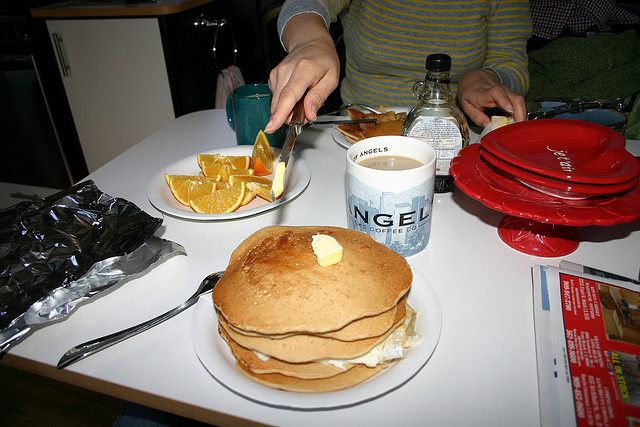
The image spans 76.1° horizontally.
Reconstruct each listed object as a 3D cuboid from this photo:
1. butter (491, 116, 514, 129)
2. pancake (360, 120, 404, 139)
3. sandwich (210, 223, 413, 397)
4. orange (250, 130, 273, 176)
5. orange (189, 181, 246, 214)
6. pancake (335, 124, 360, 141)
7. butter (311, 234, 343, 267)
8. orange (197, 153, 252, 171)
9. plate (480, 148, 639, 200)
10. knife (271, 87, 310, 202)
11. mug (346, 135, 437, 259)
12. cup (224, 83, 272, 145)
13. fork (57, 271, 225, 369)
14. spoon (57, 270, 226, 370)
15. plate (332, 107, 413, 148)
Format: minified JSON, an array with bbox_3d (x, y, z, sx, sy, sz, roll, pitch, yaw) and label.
[{"bbox_3d":[0.497,-0.245,1.113,0.058,0.020,0.069,19,42,31],"label":"butter"},{"bbox_3d":[0.192,-0.251,1.231,0.111,0.030,0.112,18,38,40],"label":"pancake"},{"bbox_3d":[-0.004,0.152,0.829,0.373,0.165,0.389,10,35,24],"label":"sandwich"},{"bbox_3d":[-0.167,-0.174,1.197,0.069,0.120,0.054,3,-1,6],"label":"orange"},{"bbox_3d":[-0.261,-0.037,1.087,0.131,0.069,0.095,8,22,28],"label":"orange"},{"bbox_3d":[0.088,-0.254,1.266,0.062,0.017,0.065,9,38,-1],"label":"pancake"},{"bbox_3d":[0.010,0.065,0.731,0.042,0.022,0.057,-13,49,-10],"label":"butter"},{"bbox_3d":[-0.278,-0.154,1.204,0.098,0.033,0.068,11,28,-5],"label":"orange"},{"bbox_3d":[0.471,-0.115,0.815,0.149,0.036,0.147,2,21,-15],"label":"plate"},{"bbox_3d":[-0.046,-0.199,0.977,0.046,0.041,0.409,28,51,-15],"label":"knife"},{"bbox_3d":[0.148,-0.054,0.957,0.215,0.261,0.249,-17,33,-24],"label":"mug"},{"bbox_3d":[-0.228,-0.294,1.268,0.172,0.159,0.110,6,36,12],"label":"cup"},{"bbox_3d":[-0.356,0.216,0.796,0.255,0.028,0.059,-27,46,-18],"label":"fork"},{"bbox_3d":[-0.370,0.223,0.817,0.497,0.072,0.120,-25,8,20],"label":"spoon"},{"bbox_3d":[0.147,-0.246,1.191,0.204,0.154,0.215,-14,25,-29],"label":"plate"}]
